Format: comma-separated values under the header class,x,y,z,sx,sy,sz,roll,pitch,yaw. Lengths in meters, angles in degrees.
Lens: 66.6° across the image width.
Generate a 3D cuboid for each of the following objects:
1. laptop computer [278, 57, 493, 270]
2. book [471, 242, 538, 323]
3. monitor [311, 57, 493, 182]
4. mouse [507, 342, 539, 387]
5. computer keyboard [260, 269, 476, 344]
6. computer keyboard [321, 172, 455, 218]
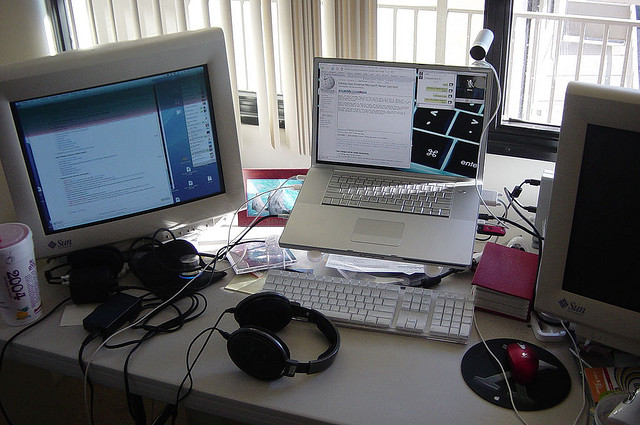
class,x,y,z,sx,sy,sz,roll,pitch,yaw
laptop computer,0.230,-0.140,1.500,0.822,0.591,0.414,-1,3,16
book,0.497,0.191,1.379,0.168,0.072,0.221,7,30,10
monitor,0.220,-0.282,1.460,0.529,0.345,0.025,8,26,21
mouse,0.496,0.349,1.193,0.074,0.046,0.126,-3,22,12
computer keyboard,0.108,0.255,1.333,0.576,0.074,0.170,7,25,18
computer keyboard,0.221,0.038,1.562,0.360,0.025,0.125,6,52,10
